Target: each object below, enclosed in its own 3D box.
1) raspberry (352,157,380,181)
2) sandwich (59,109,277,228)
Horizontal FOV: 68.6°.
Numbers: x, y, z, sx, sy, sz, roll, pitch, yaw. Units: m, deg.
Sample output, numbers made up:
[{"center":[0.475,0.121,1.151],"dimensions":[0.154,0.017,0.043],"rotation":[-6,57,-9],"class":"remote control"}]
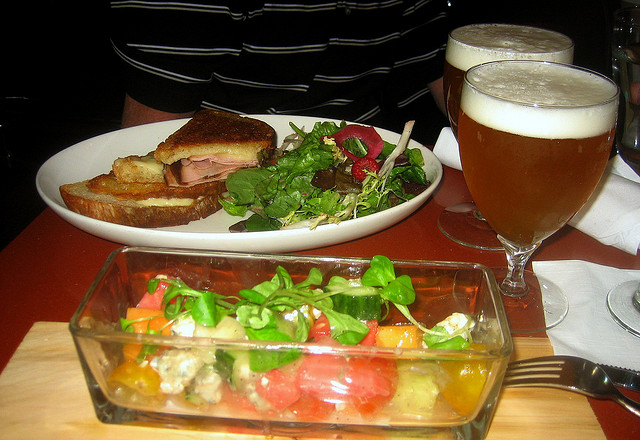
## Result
[{"center":[0.133,-0.161,1.426],"dimensions":[0.069,0.040,0.071],"rotation":[30,67,17],"class":"raspberry"},{"center":[-0.526,-0.207,1.714],"dimensions":[0.721,0.222,0.530],"rotation":[-27,41,-38],"class":"sandwich"}]
